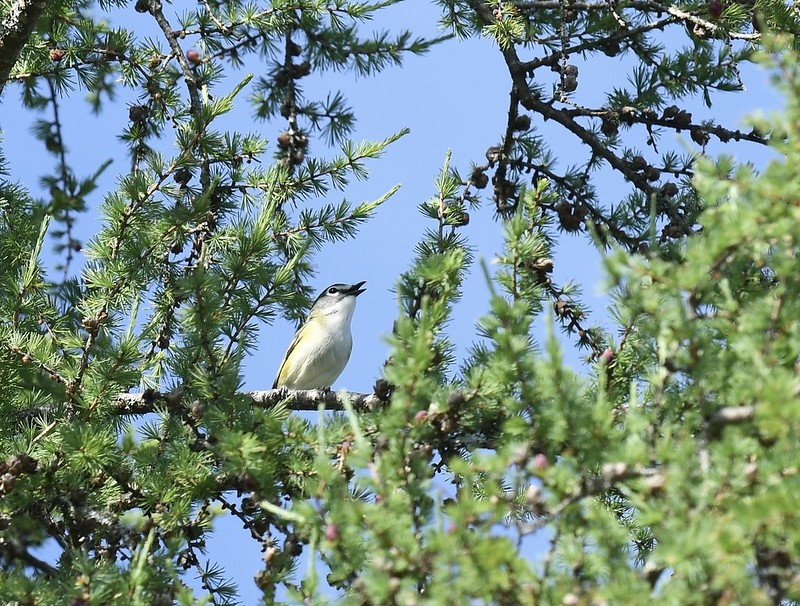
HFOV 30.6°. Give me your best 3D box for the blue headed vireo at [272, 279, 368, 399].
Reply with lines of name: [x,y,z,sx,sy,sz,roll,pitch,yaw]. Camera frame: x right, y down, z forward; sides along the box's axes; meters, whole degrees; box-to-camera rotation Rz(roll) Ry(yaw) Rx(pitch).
blue headed vireo: [-0.720,0.353,12.418,0.935,1.044,0.462,-4,-14,36]
